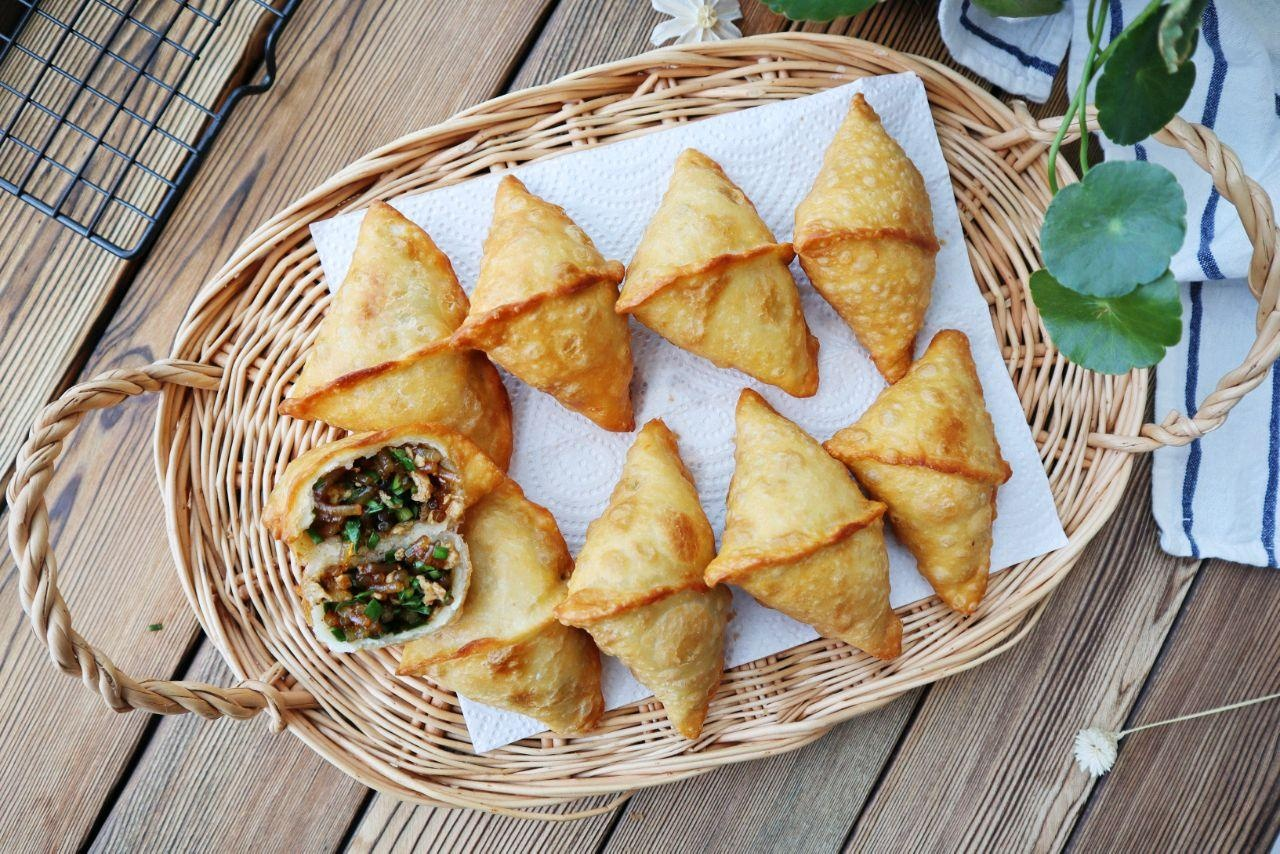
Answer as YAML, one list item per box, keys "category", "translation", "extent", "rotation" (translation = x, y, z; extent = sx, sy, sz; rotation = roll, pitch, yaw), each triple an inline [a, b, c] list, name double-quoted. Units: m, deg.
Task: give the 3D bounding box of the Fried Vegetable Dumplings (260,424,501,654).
- category: "Fried Vegetable Dumplings"
  translation: [-0.450, 0.200, 2.510]
  extent: [0.410, 0.100, 0.378]
  rotation: [-12, 83, -1]
